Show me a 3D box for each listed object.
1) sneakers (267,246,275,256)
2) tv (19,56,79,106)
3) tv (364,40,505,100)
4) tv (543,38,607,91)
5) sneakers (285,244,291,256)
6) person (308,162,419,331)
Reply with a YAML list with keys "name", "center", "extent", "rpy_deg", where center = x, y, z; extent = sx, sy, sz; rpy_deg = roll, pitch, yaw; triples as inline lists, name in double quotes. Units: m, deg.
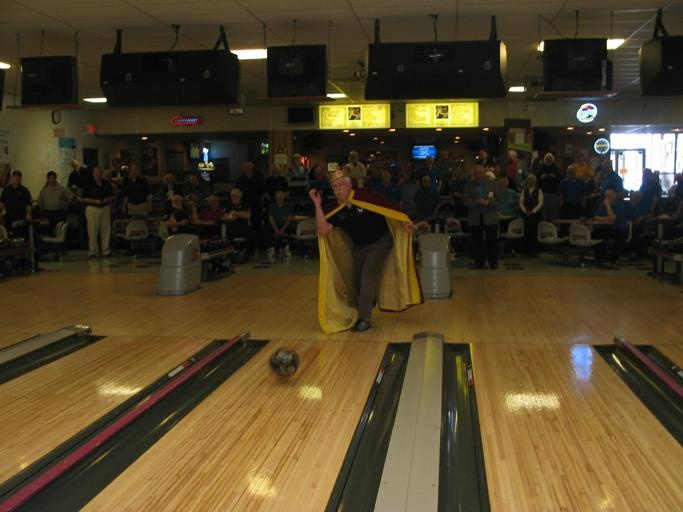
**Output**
- name: "sneakers"
  center: [-1.358, -0.105, 11.323]
  extent: [0.156, 0.160, 0.283]
  rpy_deg: [-4, 0, 10]
- name: "tv"
  center: [-4.827, -2.892, 10.001]
  extent: [0.703, 0.674, 0.381]
  rpy_deg: [2, 17, -1]
- name: "tv"
  center: [1.430, -2.827, 9.216]
  extent: [2.119, 0.859, 0.231]
  rpy_deg: [0, 8, 7]
- name: "tv"
  center: [3.587, -2.928, 9.235]
  extent: [0.770, 0.735, 0.382]
  rpy_deg: [0, 1, 4]
- name: "sneakers"
  center: [-1.001, -0.116, 11.403]
  extent: [0.124, 0.247, 0.243]
  rpy_deg: [0, 2, 13]
- name: "person"
  center: [0.268, -0.063, 5.931]
  extent: [1.012, 1.520, 0.479]
  rpy_deg: [-2, 8, -7]
